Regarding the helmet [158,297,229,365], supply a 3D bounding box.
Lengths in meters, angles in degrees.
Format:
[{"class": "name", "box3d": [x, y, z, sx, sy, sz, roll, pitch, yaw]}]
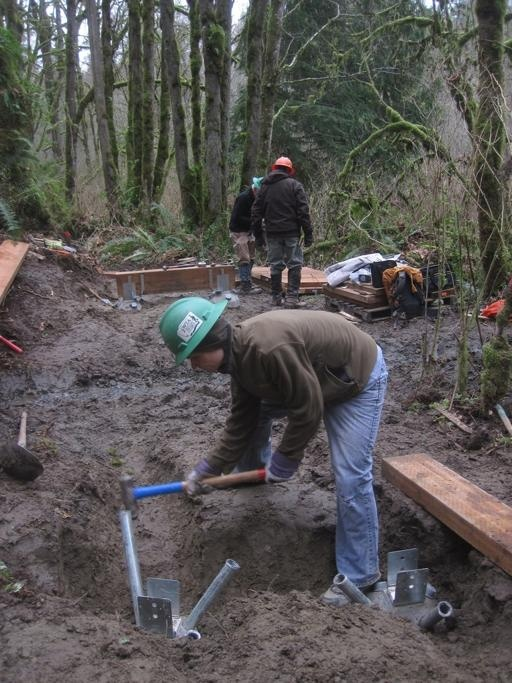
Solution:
[{"class": "helmet", "box3d": [-0.315, -0.086, 2.962, 0.362, 0.208, 0.284, -42, 19, 6]}]

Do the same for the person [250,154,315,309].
[{"class": "person", "box3d": [0.440, -1.431, 8.180, 0.867, 1.815, 1.063, 1, 3, 18]}]

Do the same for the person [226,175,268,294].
[{"class": "person", "box3d": [-0.069, -1.555, 8.998, 0.710, 1.610, 0.655, -7, 5, -15]}]

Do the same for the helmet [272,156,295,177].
[{"class": "helmet", "box3d": [0.356, -2.256, 7.871, 0.299, 0.215, 0.215, -7, 14, -25]}]

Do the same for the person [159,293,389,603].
[{"class": "person", "box3d": [0.167, 0.564, 3.365, 1.073, 1.682, 0.822, 1, 13, 9]}]
